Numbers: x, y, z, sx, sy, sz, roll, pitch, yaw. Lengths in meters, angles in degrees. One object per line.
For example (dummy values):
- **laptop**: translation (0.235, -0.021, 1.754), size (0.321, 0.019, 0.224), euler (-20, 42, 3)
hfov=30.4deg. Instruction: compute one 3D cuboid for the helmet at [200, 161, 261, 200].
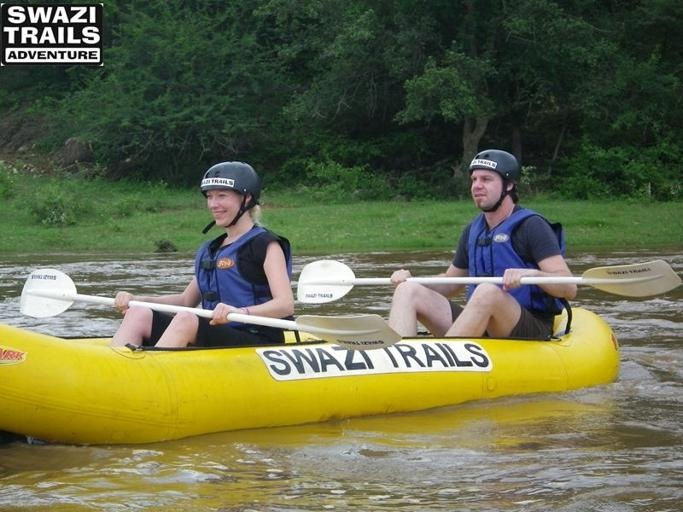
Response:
- **helmet**: translation (-1.467, -1.033, 16.970), size (0.781, 0.355, 0.510), euler (-9, 11, -27)
